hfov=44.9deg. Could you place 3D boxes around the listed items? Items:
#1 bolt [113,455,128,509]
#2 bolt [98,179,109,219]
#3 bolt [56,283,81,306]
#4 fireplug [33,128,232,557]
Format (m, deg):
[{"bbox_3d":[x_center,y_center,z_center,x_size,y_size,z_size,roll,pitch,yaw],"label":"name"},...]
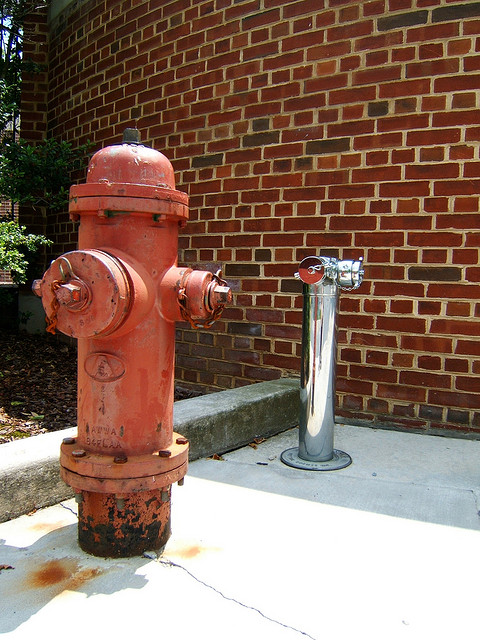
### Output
[{"bbox_3d":[-0.411,0.561,2.009,0.045,0.182,0.080,-1,7,-12],"label":"bolt"},{"bbox_3d":[-0.468,-0.416,1.995,0.036,0.133,0.063,0,7,-12],"label":"bolt"},{"bbox_3d":[-0.544,-0.080,1.833,0.078,0.065,0.048,0,6,-4],"label":"bolt"},{"bbox_3d":[-0.392,0.077,2.087,0.602,1.536,0.389,-4,8,-37],"label":"fireplug"}]
